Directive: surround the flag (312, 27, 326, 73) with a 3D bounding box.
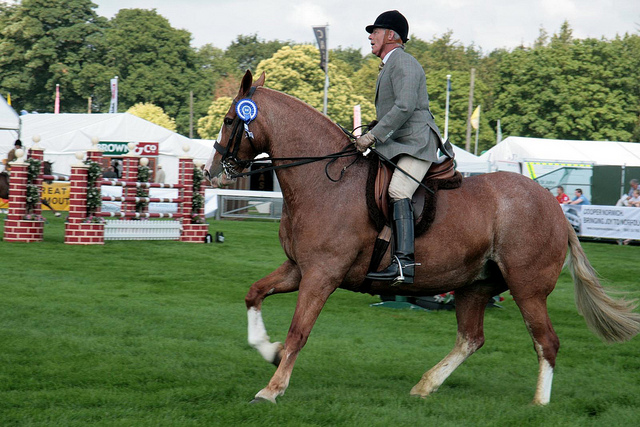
[{"bbox_3d":[-0.035,-8.698,55.813,0.620,2.354,1.347,1,3,-1],"label":"flag"}]
